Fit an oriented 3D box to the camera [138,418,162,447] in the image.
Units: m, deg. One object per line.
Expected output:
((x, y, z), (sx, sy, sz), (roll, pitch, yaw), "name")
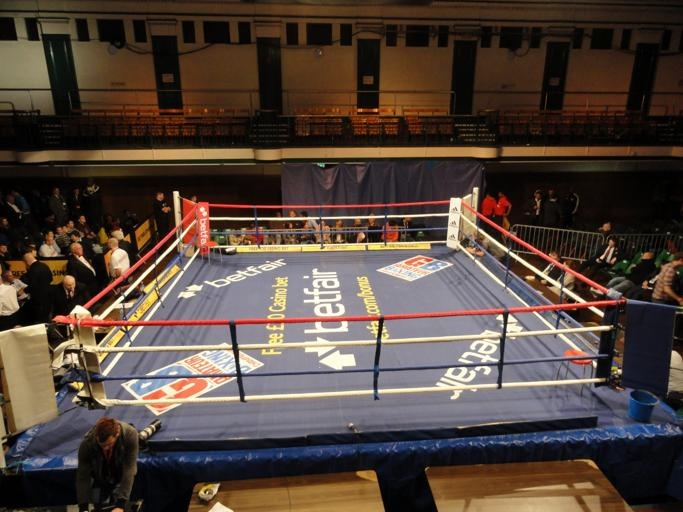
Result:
((-2.597, 2.389, 6.965), (0.187, 0.079, 0.294), (23, 18, 13), "camera")

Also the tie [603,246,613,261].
((6.710, -0.021, 12.964), (0.198, 0.372, 0.068), (7, 16, 27), "tie")

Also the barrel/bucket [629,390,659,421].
((4.362, 2.149, 7.418), (0.524, 0.468, 0.576), (3, -11, 0), "barrel/bucket")
